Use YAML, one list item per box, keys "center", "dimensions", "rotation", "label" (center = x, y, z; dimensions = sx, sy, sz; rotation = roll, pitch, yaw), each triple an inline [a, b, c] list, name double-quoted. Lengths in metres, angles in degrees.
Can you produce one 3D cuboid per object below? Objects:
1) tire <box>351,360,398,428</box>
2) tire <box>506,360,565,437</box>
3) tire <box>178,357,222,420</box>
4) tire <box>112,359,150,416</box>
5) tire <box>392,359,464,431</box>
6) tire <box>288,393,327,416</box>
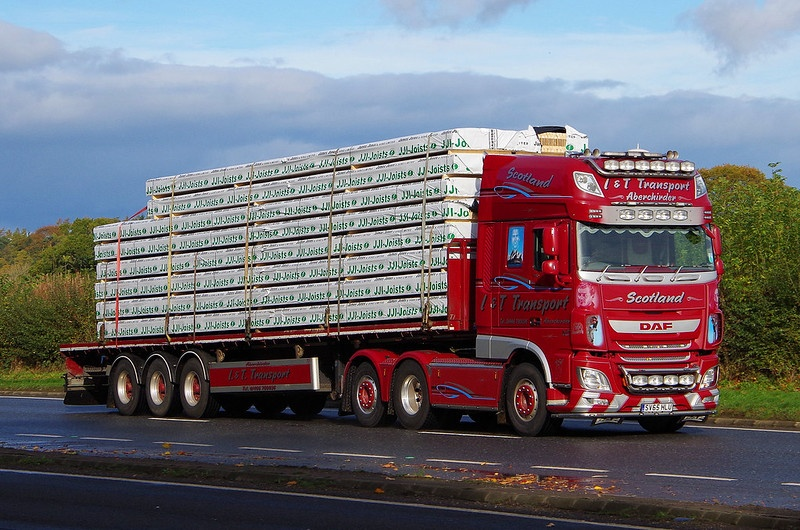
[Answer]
- center: [-0.563, 2.972, 25.912]
  dimensions: [0.657, 1.762, 1.644]
  rotation: [2, -1, -40]
  label: "tire"
- center: [2.859, 2.763, 23.275]
  dimensions: [0.624, 1.602, 1.481]
  rotation: [10, 0, -41]
  label: "tire"
- center: [-5.319, 3.256, 29.790]
  dimensions: [0.664, 1.844, 1.713]
  rotation: [1, -1, -39]
  label: "tire"
- center: [-7.575, 3.446, 31.477]
  dimensions: [0.632, 1.767, 1.623]
  rotation: [-4, 4, -35]
  label: "tire"
- center: [0.495, 2.919, 25.352]
  dimensions: [0.582, 1.604, 1.641]
  rotation: [-1, -15, -24]
  label: "tire"
- center: [-2.530, 3.745, 30.296]
  dimensions: [0.962, 0.926, 0.357]
  rotation: [3, 2, -2]
  label: "tire"
